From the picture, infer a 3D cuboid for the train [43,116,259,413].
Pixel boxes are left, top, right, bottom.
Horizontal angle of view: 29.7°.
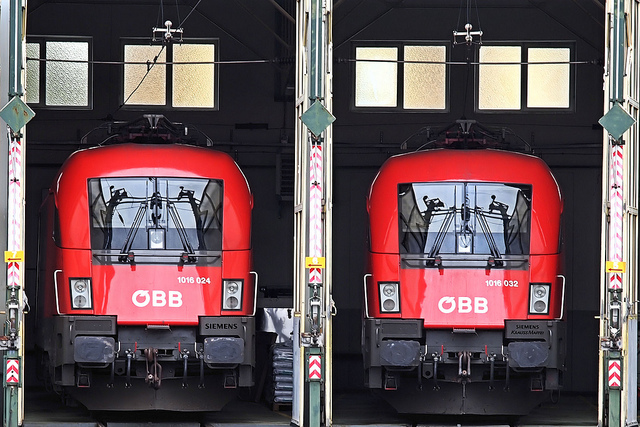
[{"bbox_3d":[-3.816,0.747,25.936,3.946,5.442,9.556,0,0,-11],"label":"train"}]
